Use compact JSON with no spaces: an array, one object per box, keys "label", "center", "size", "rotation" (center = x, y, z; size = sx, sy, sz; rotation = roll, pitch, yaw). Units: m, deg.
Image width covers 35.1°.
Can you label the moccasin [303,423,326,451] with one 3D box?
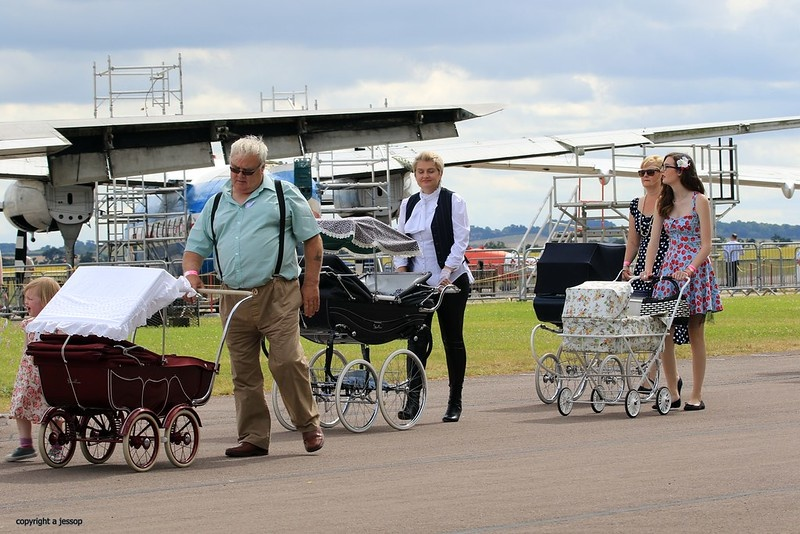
[{"label":"moccasin","center":[-0.837,1.664,12.463],"size":[0.124,0.126,0.305],"rotation":[-14,18,9]}]

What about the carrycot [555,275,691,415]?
[{"label":"carrycot","center":[2.482,0.882,14.211],"size":[1.334,1.460,0.982],"rotation":[-1,4,11]}]

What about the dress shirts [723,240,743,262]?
[{"label":"dress shirts","center":[9.861,-0.487,37.397],"size":[0.638,0.654,0.370],"rotation":[0,0,0]}]

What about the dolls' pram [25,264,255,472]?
[{"label":"dolls' pram","center":[-2.610,0.931,11.932],"size":[1.729,1.893,0.782],"rotation":[-3,4,-17]}]

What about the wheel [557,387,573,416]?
[{"label":"wheel","center":[1.851,1.467,14.048],"size":[0.126,0.307,0.315],"rotation":[1,4,39]}]

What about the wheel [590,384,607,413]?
[{"label":"wheel","center":[2.241,1.463,14.195],"size":[0.079,0.272,0.299],"rotation":[-17,-33,38]}]

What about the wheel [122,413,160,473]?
[{"label":"wheel","center":[-2.396,1.616,11.773],"size":[0.160,0.521,0.511],"rotation":[-6,-13,41]}]

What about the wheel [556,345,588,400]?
[{"label":"wheel","center":[1.994,1.195,14.581],"size":[0.199,0.608,0.670],"rotation":[-12,-10,26]}]

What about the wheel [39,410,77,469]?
[{"label":"wheel","center":[-3.222,1.610,11.972],"size":[0.199,0.587,0.558],"rotation":[1,4,20]}]

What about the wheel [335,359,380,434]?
[{"label":"wheel","center":[-0.447,1.401,13.555],"size":[0.166,0.709,0.789],"rotation":[5,13,39]}]

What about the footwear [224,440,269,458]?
[{"label":"footwear","center":[-1.490,1.766,12.399],"size":[0.422,0.164,0.146],"rotation":[4,-6,-9]}]

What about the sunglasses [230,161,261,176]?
[{"label":"sunglasses","center":[-1.477,-0.955,12.318],"size":[0.270,0.126,0.088],"rotation":[-2,3,0]}]

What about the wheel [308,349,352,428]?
[{"label":"wheel","center":[-0.869,1.315,13.783],"size":[0.175,0.744,0.746],"rotation":[0,0,42]}]

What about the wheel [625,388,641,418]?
[{"label":"wheel","center":[2.560,1.480,13.863],"size":[0.308,0.287,0.068],"rotation":[-4,-2,-42]}]

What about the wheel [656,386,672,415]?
[{"label":"wheel","center":[2.926,1.456,14.010],"size":[0.184,0.294,0.136],"rotation":[-2,4,-8]}]
